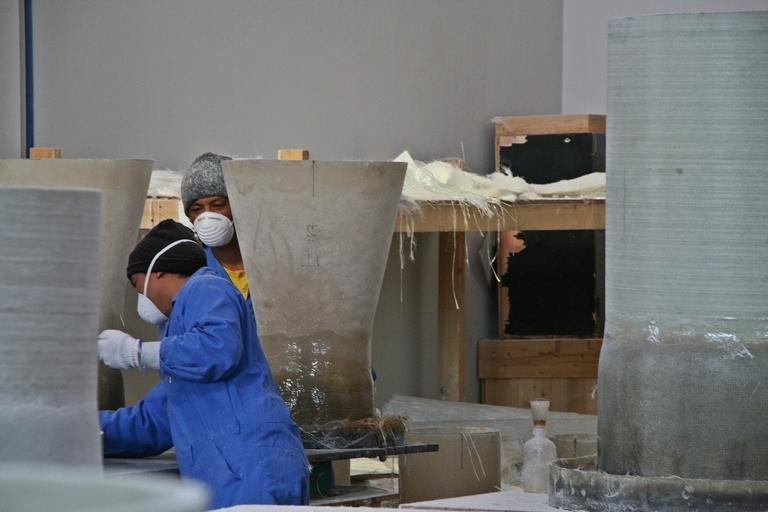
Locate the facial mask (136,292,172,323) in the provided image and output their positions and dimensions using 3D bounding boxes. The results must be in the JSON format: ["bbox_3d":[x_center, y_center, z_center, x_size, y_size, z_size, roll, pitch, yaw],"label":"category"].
[{"bbox_3d":[-0.905,0.215,4.638,0.108,0.099,0.115,32,-6,17],"label":"facial mask"}]

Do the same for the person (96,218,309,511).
[{"bbox_3d":[-0.658,0.411,4.442,0.677,1.187,0.472,-4,-37,-11],"label":"person"}]

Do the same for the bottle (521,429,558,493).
[{"bbox_3d":[0.578,0.765,4.443,0.125,0.228,0.301,-1,-2,8],"label":"bottle"}]

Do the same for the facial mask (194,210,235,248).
[{"bbox_3d":[-0.753,-0.132,5.206,0.215,0.159,0.206,2,17,3],"label":"facial mask"}]

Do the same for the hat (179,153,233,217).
[{"bbox_3d":[-0.779,-0.313,5.258,0.243,0.223,0.214,-22,9,-9],"label":"hat"}]

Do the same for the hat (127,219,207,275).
[{"bbox_3d":[-0.847,-0.033,4.664,0.270,0.199,0.197,0,1,0],"label":"hat"}]
